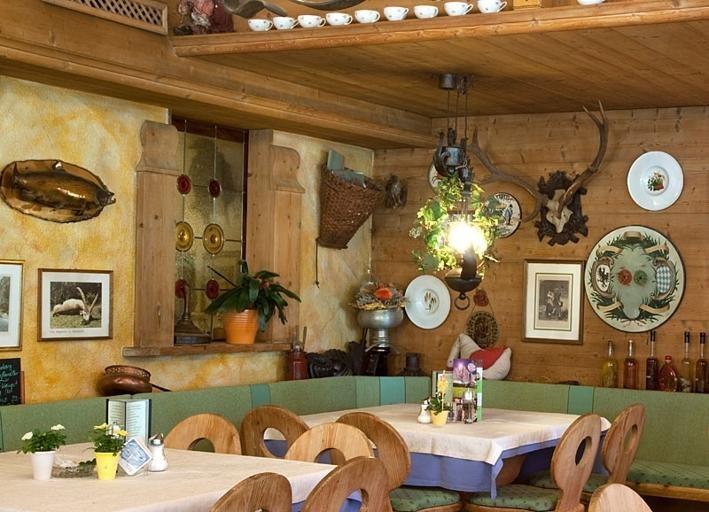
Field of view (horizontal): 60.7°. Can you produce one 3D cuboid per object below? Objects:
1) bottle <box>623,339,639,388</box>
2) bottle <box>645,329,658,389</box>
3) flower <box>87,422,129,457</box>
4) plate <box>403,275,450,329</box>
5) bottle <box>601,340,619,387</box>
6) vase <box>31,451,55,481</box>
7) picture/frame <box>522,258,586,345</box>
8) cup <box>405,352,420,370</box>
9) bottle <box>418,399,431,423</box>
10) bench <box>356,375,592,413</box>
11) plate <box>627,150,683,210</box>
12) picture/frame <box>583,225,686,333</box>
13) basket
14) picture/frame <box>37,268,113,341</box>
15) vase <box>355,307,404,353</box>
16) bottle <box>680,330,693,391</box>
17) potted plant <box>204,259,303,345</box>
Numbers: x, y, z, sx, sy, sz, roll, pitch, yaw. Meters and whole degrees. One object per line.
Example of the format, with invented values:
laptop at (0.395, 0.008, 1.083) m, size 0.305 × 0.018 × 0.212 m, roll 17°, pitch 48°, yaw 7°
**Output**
bottle at (2.376, 0.923, 5.189) m, size 0.120 × 0.406 × 0.084 m, roll 0°, pitch -4°, yaw 9°
bottle at (2.514, 0.874, 5.114) m, size 0.105 × 0.483 × 0.107 m, roll 0°, pitch -4°, yaw 0°
flower at (-0.934, 0.662, 2.248) m, size 0.160 × 0.126 × 0.153 m, roll 0°, pitch -3°, yaw -2°
plate at (0.732, 0.462, 6.007) m, size 0.609 × 0.573 × 0.133 m, roll 0°, pitch 2°, yaw 5°
bottle at (2.237, 0.941, 5.263) m, size 0.131 × 0.388 × 0.067 m, roll 1°, pitch -4°, yaw -12°
vase at (-1.123, 0.753, 2.182) m, size 0.098 × 0.079 × 0.094 m, roll 1°, pitch -6°, yaw -3°
picture/frame at (1.825, 0.420, 5.547) m, size 0.517 × 0.741 × 0.035 m, roll -2°, pitch -4°, yaw 26°
cup at (0.562, 1.029, 5.898) m, size 0.148 × 0.147 × 0.141 m, roll 1°, pitch -4°, yaw 0°
bottle at (0.426, 0.952, 3.719) m, size 0.090 × 0.120 × 0.122 m, roll 1°, pitch -6°, yaw 6°
bench at (1.440, 1.147, 4.935) m, size 1.104 × 0.336 × 0.325 m, roll 0°, pitch 0°, yaw 24°
plate at (2.590, -0.642, 5.209) m, size 0.418 × 0.516 × 0.059 m, roll -2°, pitch -4°, yaw 26°
picture/frame at (2.428, 0.200, 5.256) m, size 0.783 × 0.913 × 0.047 m, roll -2°, pitch -4°, yaw 27°
basket at (-0.056, -0.397, 5.920) m, size 0.571 × 0.809 × 0.702 m, roll -1°, pitch -5°, yaw 34°
picture/frame at (-1.921, 0.339, 4.143) m, size 0.026 × 0.481 × 0.525 m, roll -4°, pitch -6°, yaw 35°
vase at (0.255, 0.711, 6.006) m, size 0.449 × 0.400 × 0.431 m, roll 0°, pitch -4°, yaw 4°
bottle at (2.742, 0.868, 5.007) m, size 0.101 × 0.486 × 0.107 m, roll 0°, pitch -4°, yaw 0°
potted plant at (-0.885, 0.396, 5.091) m, size 0.717 × 0.686 × 0.650 m, roll 1°, pitch -4°, yaw -13°
